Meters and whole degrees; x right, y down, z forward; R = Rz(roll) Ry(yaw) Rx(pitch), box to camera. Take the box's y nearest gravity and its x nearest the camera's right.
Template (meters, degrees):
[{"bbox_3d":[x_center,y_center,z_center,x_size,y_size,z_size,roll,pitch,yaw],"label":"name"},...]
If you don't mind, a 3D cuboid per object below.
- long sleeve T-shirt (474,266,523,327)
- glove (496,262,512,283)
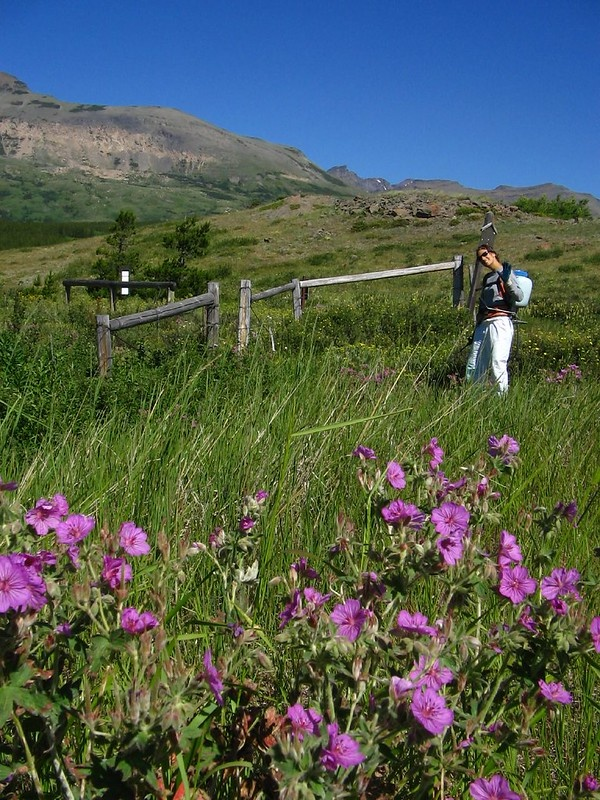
[{"bbox_3d":[1.916,-1.005,6.215,0.316,0.617,0.466,4,-8,-35],"label":"long sleeve T-shirt"},{"bbox_3d":[1.923,-1.199,5.989,0.120,0.185,0.465,7,11,16],"label":"glove"}]
